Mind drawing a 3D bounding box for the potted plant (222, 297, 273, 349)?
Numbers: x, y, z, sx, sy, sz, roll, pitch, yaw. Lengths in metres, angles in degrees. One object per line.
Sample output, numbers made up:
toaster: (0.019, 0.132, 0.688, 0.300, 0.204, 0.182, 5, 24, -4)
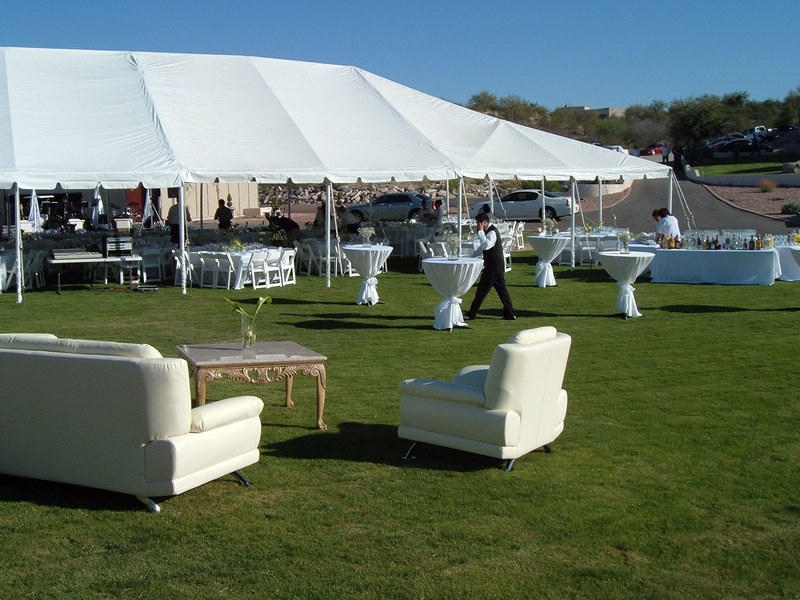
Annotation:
potted plant: (-2.060, 0.319, 10.042, 0.624, 0.683, 0.373, 0, 0, -3)

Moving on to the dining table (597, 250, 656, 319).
dining table: (3.772, -0.290, 12.469, 0.821, 1.024, 0.804, -3, 4, -2)

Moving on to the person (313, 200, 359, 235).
person: (-1.709, -2.439, 21.248, 1.462, 0.751, 0.927, -2, 10, -1)

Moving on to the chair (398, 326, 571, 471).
chair: (0.736, 0.665, 6.182, 1.137, 1.150, 1.225, 2, 1, 31)

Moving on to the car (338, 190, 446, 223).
car: (-0.331, -4.531, 32.056, 4.512, 1.707, 1.935, 1, 1, 1)

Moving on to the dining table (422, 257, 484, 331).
dining table: (0.794, -0.118, 11.473, 0.843, 1.040, 0.983, -1, 3, -4)

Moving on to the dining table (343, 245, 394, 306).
dining table: (-0.596, -0.472, 13.667, 0.844, 1.045, 0.811, -8, 11, -44)

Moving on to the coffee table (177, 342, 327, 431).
coffee table: (-1.421, 0.842, 7.031, 1.386, 0.702, 1.509, -1, 3, -11)
